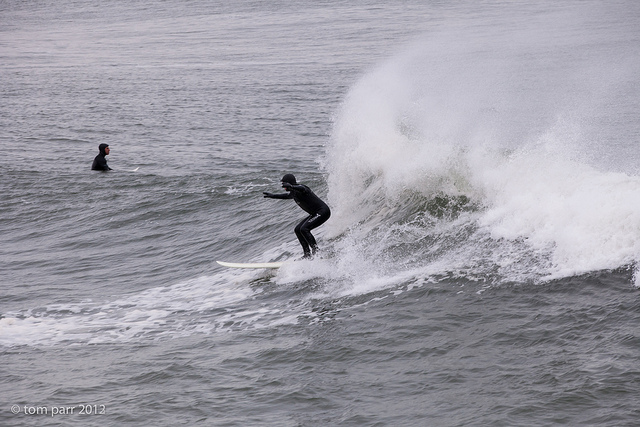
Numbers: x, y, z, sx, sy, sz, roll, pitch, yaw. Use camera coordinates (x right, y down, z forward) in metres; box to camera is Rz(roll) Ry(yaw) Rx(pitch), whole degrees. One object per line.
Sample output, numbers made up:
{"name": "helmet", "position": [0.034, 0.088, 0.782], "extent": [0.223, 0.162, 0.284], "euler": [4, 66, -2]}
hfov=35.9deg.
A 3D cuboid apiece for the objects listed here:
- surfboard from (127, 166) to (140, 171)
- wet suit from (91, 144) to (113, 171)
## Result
{"name": "surfboard", "position": [-6.887, -1.631, 36.577], "extent": [0.324, 0.102, 0.404], "euler": [5, 31, 3]}
{"name": "wet suit", "position": [-8.042, -2.008, 36.208], "extent": [0.746, 1.121, 0.577], "euler": [-1, 42, -9]}
